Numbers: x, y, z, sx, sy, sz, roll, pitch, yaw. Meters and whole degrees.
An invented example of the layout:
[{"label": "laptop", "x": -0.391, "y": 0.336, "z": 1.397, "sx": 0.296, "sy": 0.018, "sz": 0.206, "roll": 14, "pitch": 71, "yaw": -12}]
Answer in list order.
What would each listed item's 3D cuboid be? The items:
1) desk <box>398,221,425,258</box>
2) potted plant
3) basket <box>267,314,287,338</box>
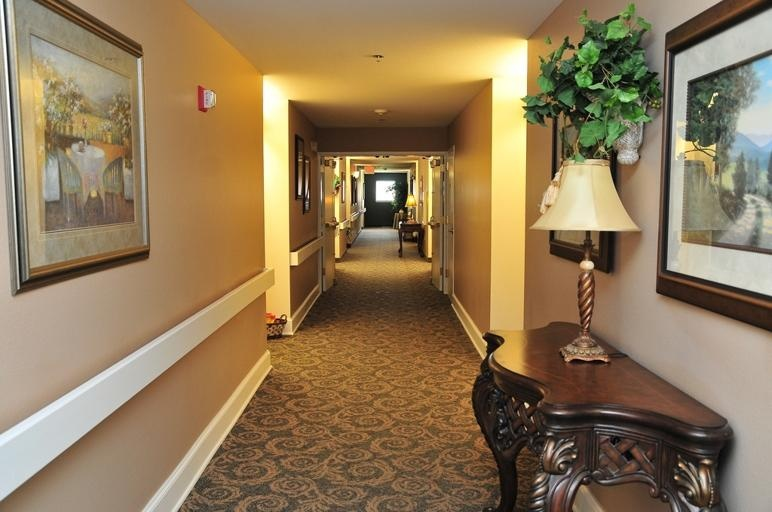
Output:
[{"label": "desk", "x": 0.675, "y": -0.523, "z": 14.220, "sx": 0.776, "sy": 0.915, "sz": 0.648, "roll": 1, "pitch": 6, "yaw": -2}, {"label": "potted plant", "x": 1.022, "y": -0.892, "z": 2.617, "sx": 0.561, "sy": 0.811, "sz": 0.700, "roll": 0, "pitch": 9, "yaw": 1}, {"label": "basket", "x": -1.341, "y": 0.861, "z": 6.214, "sx": 0.235, "sy": 0.192, "sz": 0.257, "roll": 2, "pitch": 8, "yaw": 10}]
